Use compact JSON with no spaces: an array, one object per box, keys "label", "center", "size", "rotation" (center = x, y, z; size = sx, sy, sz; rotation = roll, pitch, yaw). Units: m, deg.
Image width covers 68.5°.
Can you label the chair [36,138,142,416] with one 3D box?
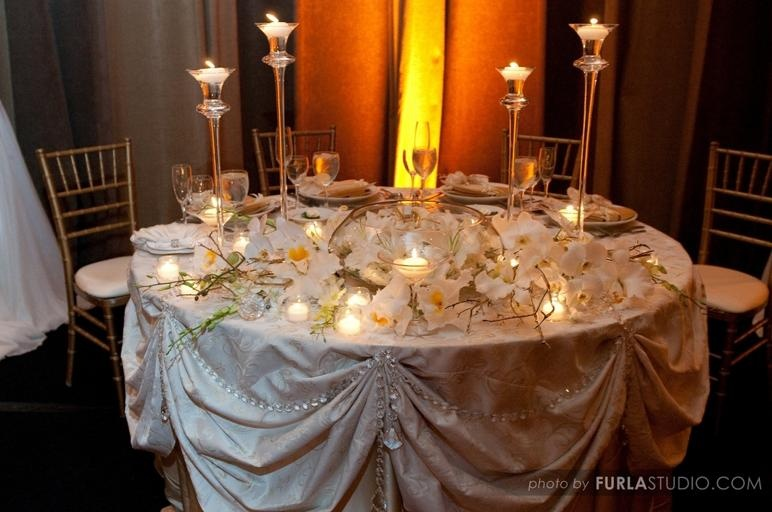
[{"label":"chair","center":[-1.566,0.078,3.361],"size":[0.751,1.438,0.725],"rotation":[-1,16,-15]}]

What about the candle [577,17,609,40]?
[{"label":"candle","center":[0.714,-0.798,1.975],"size":[0.079,0.044,0.079],"rotation":[-8,23,-10]}]

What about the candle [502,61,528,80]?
[{"label":"candle","center":[0.462,-0.654,2.027],"size":[0.090,0.050,0.091],"rotation":[2,17,11]}]

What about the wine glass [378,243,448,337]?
[{"label":"wine glass","center":[0.088,0.074,1.757],"size":[0.203,0.226,0.194],"rotation":[-2,10,-18]}]

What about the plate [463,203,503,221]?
[{"label":"plate","center":[0.456,-0.215,2.581],"size":[0.151,0.036,0.151],"rotation":[-8,21,-23]}]

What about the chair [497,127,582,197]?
[{"label":"chair","center":[1.077,-0.655,4.010],"size":[0.405,0.656,0.389],"rotation":[-23,14,-4]}]

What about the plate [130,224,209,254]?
[{"label":"plate","center":[-0.929,-0.054,2.361],"size":[0.228,0.062,0.227],"rotation":[-3,-2,-33]}]
